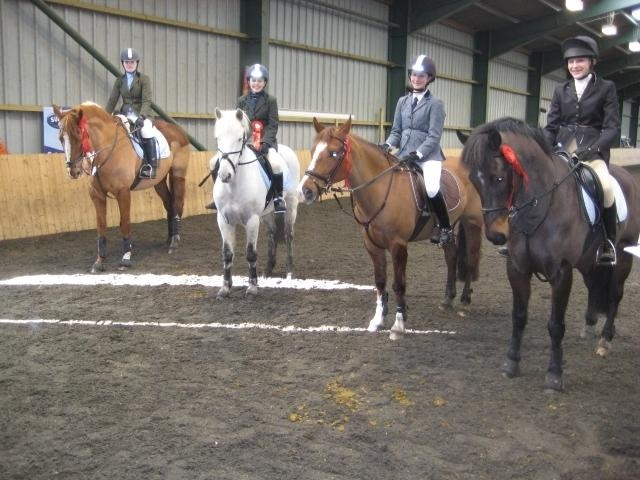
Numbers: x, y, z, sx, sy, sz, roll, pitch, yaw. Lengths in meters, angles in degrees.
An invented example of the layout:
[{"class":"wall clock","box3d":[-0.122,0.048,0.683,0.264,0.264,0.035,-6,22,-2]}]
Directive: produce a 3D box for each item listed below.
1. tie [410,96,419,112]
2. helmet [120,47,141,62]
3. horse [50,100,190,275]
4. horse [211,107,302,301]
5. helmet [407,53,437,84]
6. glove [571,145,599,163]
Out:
[{"class":"tie","box3d":[1.192,-1.704,8.941,0.072,0.159,0.032,11,5,31]},{"class":"helmet","box3d":[-2.970,-2.868,11.126,0.246,0.178,0.375,-3,13,-21]},{"class":"horse","box3d":[-2.929,-0.888,11.340,0.626,2.585,2.832,4,10,25]},{"class":"horse","box3d":[-0.970,-0.467,10.093,0.572,2.474,2.670,0,2,8]},{"class":"helmet","box3d":[1.244,-2.101,8.690,0.262,0.418,0.375,9,15,18]},{"class":"glove","box3d":[2.891,-0.931,7.780,0.210,0.126,0.169,-13,13,-21]}]
